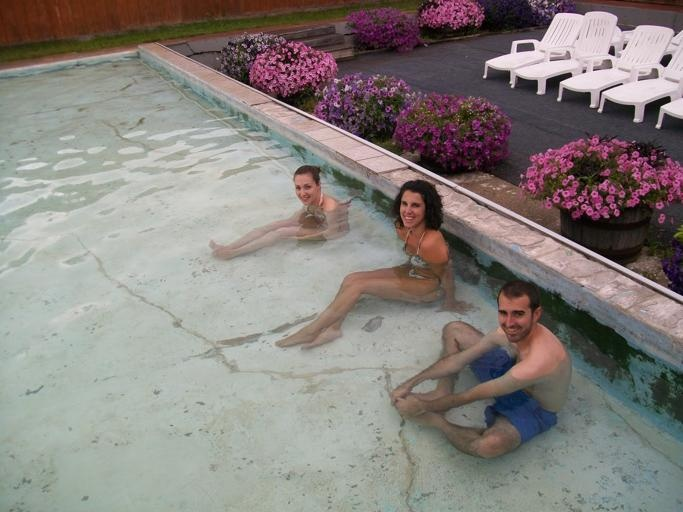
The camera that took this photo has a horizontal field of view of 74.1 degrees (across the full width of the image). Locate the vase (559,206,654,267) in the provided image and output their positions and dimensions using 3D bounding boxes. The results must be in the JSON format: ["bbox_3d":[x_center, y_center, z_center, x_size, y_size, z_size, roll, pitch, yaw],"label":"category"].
[{"bbox_3d":[2.691,-0.243,4.948,0.780,0.519,0.651,-10,26,-10],"label":"vase"}]

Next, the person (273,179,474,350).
[{"bbox_3d":[0.263,0.043,4.400,2.075,1.324,0.824,-15,25,-36],"label":"person"}]
